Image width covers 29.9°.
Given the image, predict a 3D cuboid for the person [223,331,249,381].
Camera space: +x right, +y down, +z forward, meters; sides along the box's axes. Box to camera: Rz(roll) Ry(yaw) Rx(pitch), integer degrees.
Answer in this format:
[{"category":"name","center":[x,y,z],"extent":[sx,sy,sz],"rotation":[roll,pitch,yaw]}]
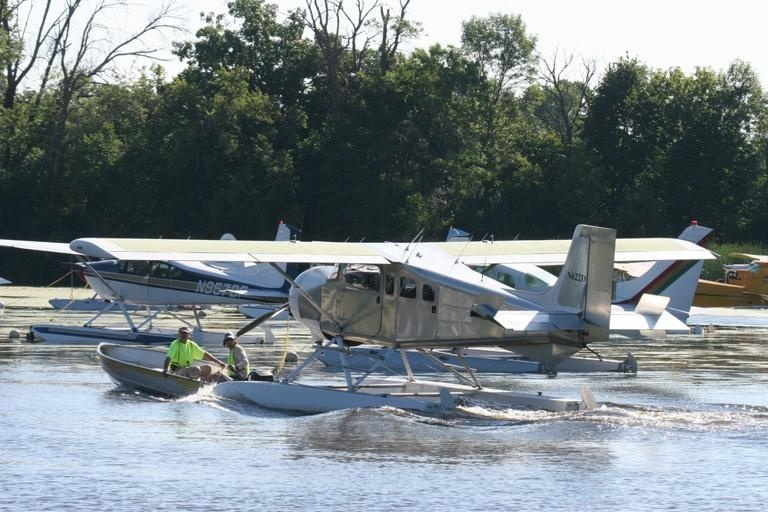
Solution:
[{"category":"person","center":[-5.352,3.549,50.216],"extent":[0.738,1.854,0.935],"rotation":[-2,-31,-31]}]

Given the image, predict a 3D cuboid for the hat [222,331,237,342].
[{"category":"hat","center":[-5.430,2.745,49.513],"extent":[0.447,0.189,0.575],"rotation":[-2,-8,4]}]
